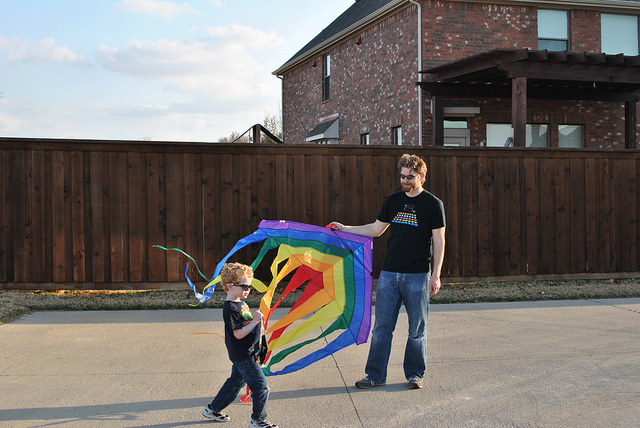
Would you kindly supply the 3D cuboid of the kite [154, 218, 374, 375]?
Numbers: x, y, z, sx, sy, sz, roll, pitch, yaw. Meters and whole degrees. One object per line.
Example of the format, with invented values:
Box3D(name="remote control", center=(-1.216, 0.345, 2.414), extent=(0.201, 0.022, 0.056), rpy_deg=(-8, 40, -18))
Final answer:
Box3D(name="kite", center=(-0.263, 1.469, 15.514), extent=(3.023, 2.787, 1.485), rpy_deg=(-29, -7, 16))
